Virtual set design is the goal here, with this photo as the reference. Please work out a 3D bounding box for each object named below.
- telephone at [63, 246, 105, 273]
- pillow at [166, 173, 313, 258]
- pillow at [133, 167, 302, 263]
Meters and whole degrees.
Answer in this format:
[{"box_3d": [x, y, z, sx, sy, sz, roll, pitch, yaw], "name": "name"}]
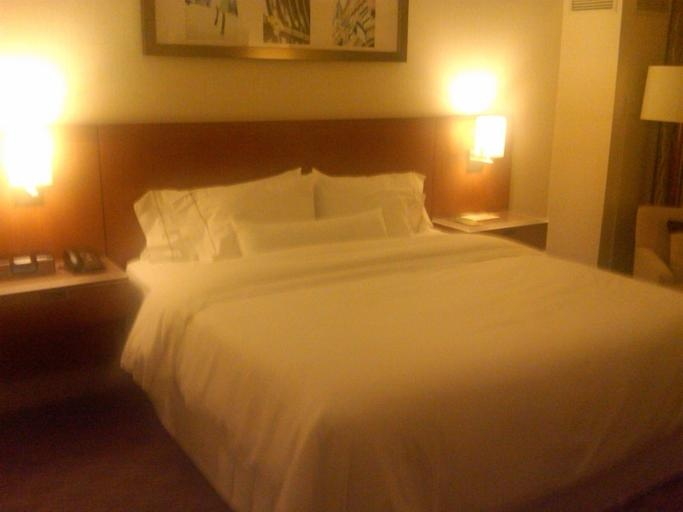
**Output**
[{"box_3d": [-1.397, 0.034, 2.875, 0.132, 0.062, 0.179, -9, 31, -21], "name": "telephone"}, {"box_3d": [-0.577, -0.202, 3.013, 0.836, 0.463, 0.100, -9, -6, -30], "name": "pillow"}, {"box_3d": [-0.659, -0.273, 2.986, 0.742, 0.535, 0.141, -7, -14, -15], "name": "pillow"}]
